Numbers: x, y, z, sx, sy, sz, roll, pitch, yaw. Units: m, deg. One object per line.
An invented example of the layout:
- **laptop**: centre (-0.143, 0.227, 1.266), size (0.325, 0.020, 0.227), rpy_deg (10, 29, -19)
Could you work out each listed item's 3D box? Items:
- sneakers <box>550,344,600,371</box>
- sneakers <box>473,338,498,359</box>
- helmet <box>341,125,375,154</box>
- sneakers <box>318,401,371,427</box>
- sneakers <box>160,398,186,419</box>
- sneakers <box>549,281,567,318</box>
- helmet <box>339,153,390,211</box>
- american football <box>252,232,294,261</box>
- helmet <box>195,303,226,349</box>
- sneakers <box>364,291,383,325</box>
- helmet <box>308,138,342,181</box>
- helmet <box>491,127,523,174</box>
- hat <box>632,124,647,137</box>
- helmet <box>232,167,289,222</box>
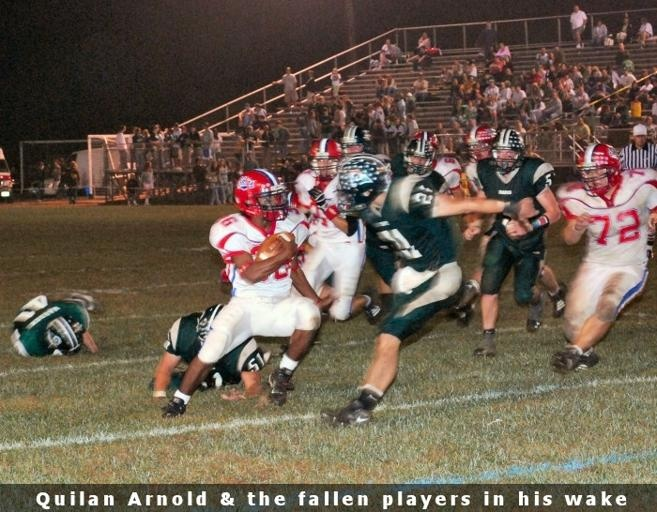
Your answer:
- **sneakers**: centre (1.782, 0.735, 5.999), size (0.278, 0.129, 0.108), rpy_deg (-11, 52, -28)
- **sneakers**: centre (1.233, 0.720, 6.570), size (0.179, 0.102, 0.189), rpy_deg (0, 12, 8)
- **helmet**: centre (0.264, -1.059, 7.500), size (0.332, 0.293, 0.249), rpy_deg (-4, 8, -20)
- **sneakers**: centre (0.106, 1.006, 5.271), size (0.254, 0.115, 0.158), rpy_deg (5, -12, -6)
- **sneakers**: centre (-1.009, 0.975, 5.394), size (0.152, 0.115, 0.110), rpy_deg (-4, 12, -13)
- **sneakers**: centre (2.128, 0.399, 7.715), size (0.166, 0.394, 0.131), rpy_deg (5, -1, -5)
- **helmet**: centre (0.229, -0.464, 5.402), size (0.352, 0.380, 0.205), rpy_deg (-2, 11, -1)
- **american football**: centre (-0.378, -0.062, 5.541), size (0.254, 0.147, 0.092), rpy_deg (-37, -11, -16)
- **helmet**: centre (-0.837, 0.470, 5.664), size (0.150, 0.250, 0.186), rpy_deg (11, 3, -31)
- **sneakers**: centre (0.450, 0.499, 7.977), size (0.116, 0.246, 0.342), rpy_deg (-35, -12, -7)
- **helmet**: centre (-0.029, -0.838, 7.132), size (0.278, 0.349, 0.266), rpy_deg (-1, 11, 1)
- **helmet**: centre (1.486, -0.867, 6.872), size (0.218, 0.374, 0.279), rpy_deg (4, 13, 27)
- **hat**: centre (3.839, -1.516, 10.261), size (0.168, 0.128, 0.253), rpy_deg (-2, 22, 10)
- **helmet**: centre (-0.490, -0.448, 5.706), size (0.371, 0.301, 0.302), rpy_deg (17, 21, 25)
